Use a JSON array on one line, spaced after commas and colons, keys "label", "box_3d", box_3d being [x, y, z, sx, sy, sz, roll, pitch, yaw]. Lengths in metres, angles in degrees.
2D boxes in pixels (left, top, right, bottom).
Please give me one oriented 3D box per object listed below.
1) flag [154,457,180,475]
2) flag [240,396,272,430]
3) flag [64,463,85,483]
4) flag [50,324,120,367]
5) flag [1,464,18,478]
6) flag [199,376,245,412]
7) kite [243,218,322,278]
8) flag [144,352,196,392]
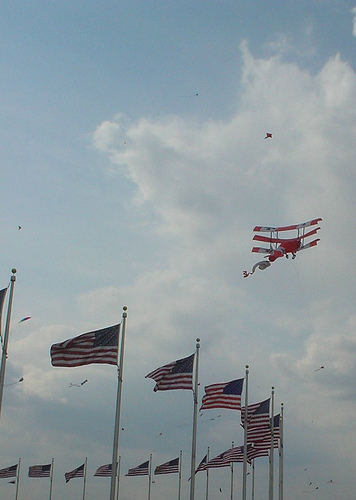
[{"label": "flag", "box_3d": [-0.833, 17.398, 74.239, 1.719, 1.666, 4.407, 3, -20, -2]}, {"label": "flag", "box_3d": [4.504, 9.801, 54.533, 2.159, 2.404, 0.222, -5, -7, 37]}, {"label": "flag", "box_3d": [-9.350, 20.403, 83.871, 1.600, 1.808, 4.858, 4, -20, -5]}, {"label": "flag", "box_3d": [-4.430, 4.555, 44.931, 2.999, 2.302, 0.598, 3, -21, -3]}, {"label": "flag", "box_3d": [-16.344, 21.360, 88.898, 1.386, 1.139, 2.737, 6, -21, -9]}, {"label": "flag", "box_3d": [2.484, 7.891, 50.456, 2.063, 1.706, 0.465, 1, -21, 4]}, {"label": "kite", "box_3d": [5.366, -0.470, 46.181, 3.625, 2.625, 2.521, 7, -17, -26]}, {"label": "flag", "box_3d": [-0.423, 6.516, 49.287, 2.645, 2.313, 0.311, -1, -36, 0]}]
